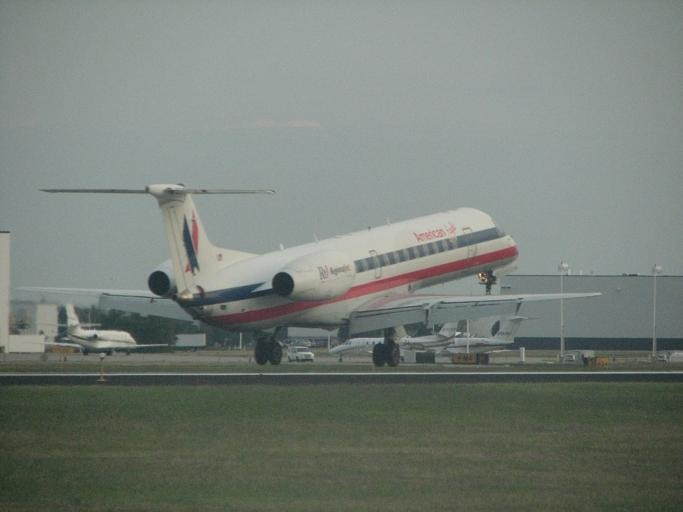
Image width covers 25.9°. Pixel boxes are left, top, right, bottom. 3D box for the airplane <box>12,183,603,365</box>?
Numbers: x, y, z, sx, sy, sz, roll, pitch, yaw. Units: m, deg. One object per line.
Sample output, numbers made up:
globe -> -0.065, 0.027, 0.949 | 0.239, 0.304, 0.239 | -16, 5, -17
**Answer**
airplane -> -0.290, 0.718, 47.837 | 9.190, 3.171, 10.218 | 5, 8, 38
